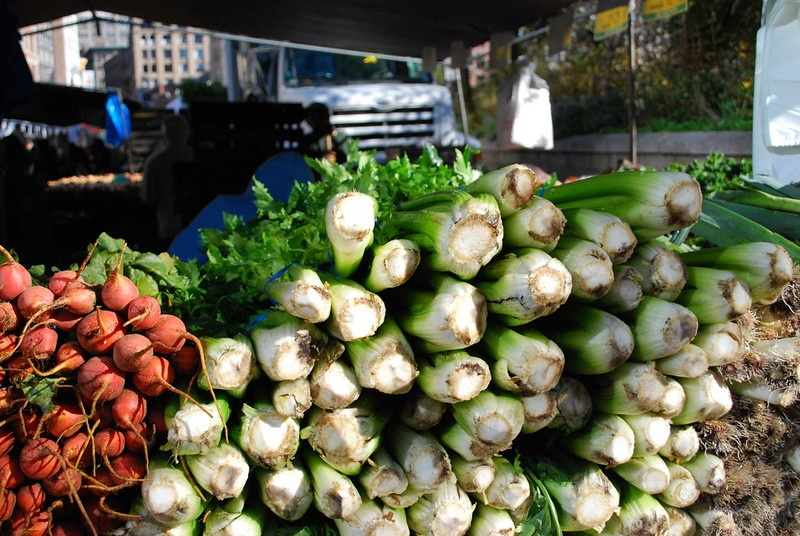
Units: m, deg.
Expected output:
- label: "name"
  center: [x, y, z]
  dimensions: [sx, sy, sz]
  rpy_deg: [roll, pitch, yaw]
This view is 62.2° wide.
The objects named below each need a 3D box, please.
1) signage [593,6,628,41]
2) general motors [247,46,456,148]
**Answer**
- label: "signage"
  center: [2.304, -2.671, 7.224]
  dimensions: [0.351, 0.275, 0.723]
  rpy_deg: [3, 17, 16]
- label: "general motors"
  center: [-1.381, -3.102, 12.431]
  dimensions: [2.510, 2.088, 3.402]
  rpy_deg: [-11, 13, -38]
